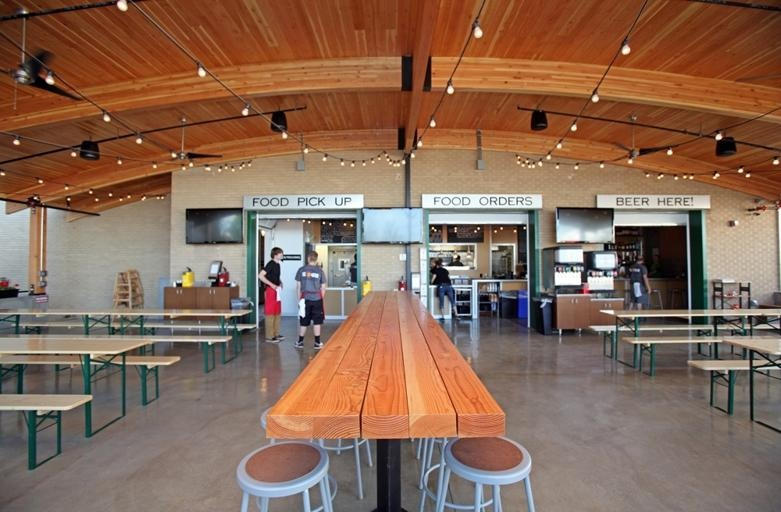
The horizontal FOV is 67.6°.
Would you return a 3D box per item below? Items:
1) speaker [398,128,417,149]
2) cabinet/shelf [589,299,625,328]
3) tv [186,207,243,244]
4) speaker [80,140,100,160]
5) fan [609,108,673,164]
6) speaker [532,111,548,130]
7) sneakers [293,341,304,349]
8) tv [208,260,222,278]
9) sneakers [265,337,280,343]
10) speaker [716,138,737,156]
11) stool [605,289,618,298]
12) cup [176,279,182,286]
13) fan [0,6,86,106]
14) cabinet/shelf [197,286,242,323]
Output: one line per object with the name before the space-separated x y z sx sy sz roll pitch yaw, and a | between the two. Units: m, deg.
speaker | 0.458 -2.950 14.356 0.340 0.544 0.603 -1 9 1
cabinet/shelf | 5.077 1.328 13.670 0.740 0.451 0.384 0 -6 -1
tv | -4.549 -0.812 15.181 1.458 0.883 0.074 -1 -2 -1
speaker | -6.613 -2.409 12.820 0.359 0.512 0.909 0 -2 -28
fan | 5.912 -2.780 13.876 1.748 0.919 1.616 -6 8 -24
speaker | 3.184 -2.951 12.405 0.297 0.437 0.359 -2 -2 9
sneakers | -1.976 1.954 12.766 0.199 0.203 0.517 1 1 -7
tv | -4.503 0.334 15.095 0.356 0.424 0.124 3 -15 12
sneakers | -2.690 1.946 13.438 0.327 0.107 0.110 -2 -2 1
speaker | 7.164 -2.375 12.416 0.321 0.384 0.361 -3 -2 34
stool | 6.037 1.010 15.649 0.174 0.224 2.327 -2 -2 26
cup | -5.422 0.682 15.060 0.180 0.144 0.115 2 7 1
fan | -5.946 -3.272 9.887 1.624 1.272 1.597 6 11 36
cabinet/shelf | -4.376 1.101 14.765 1.330 1.054 0.675 0 -1 5
